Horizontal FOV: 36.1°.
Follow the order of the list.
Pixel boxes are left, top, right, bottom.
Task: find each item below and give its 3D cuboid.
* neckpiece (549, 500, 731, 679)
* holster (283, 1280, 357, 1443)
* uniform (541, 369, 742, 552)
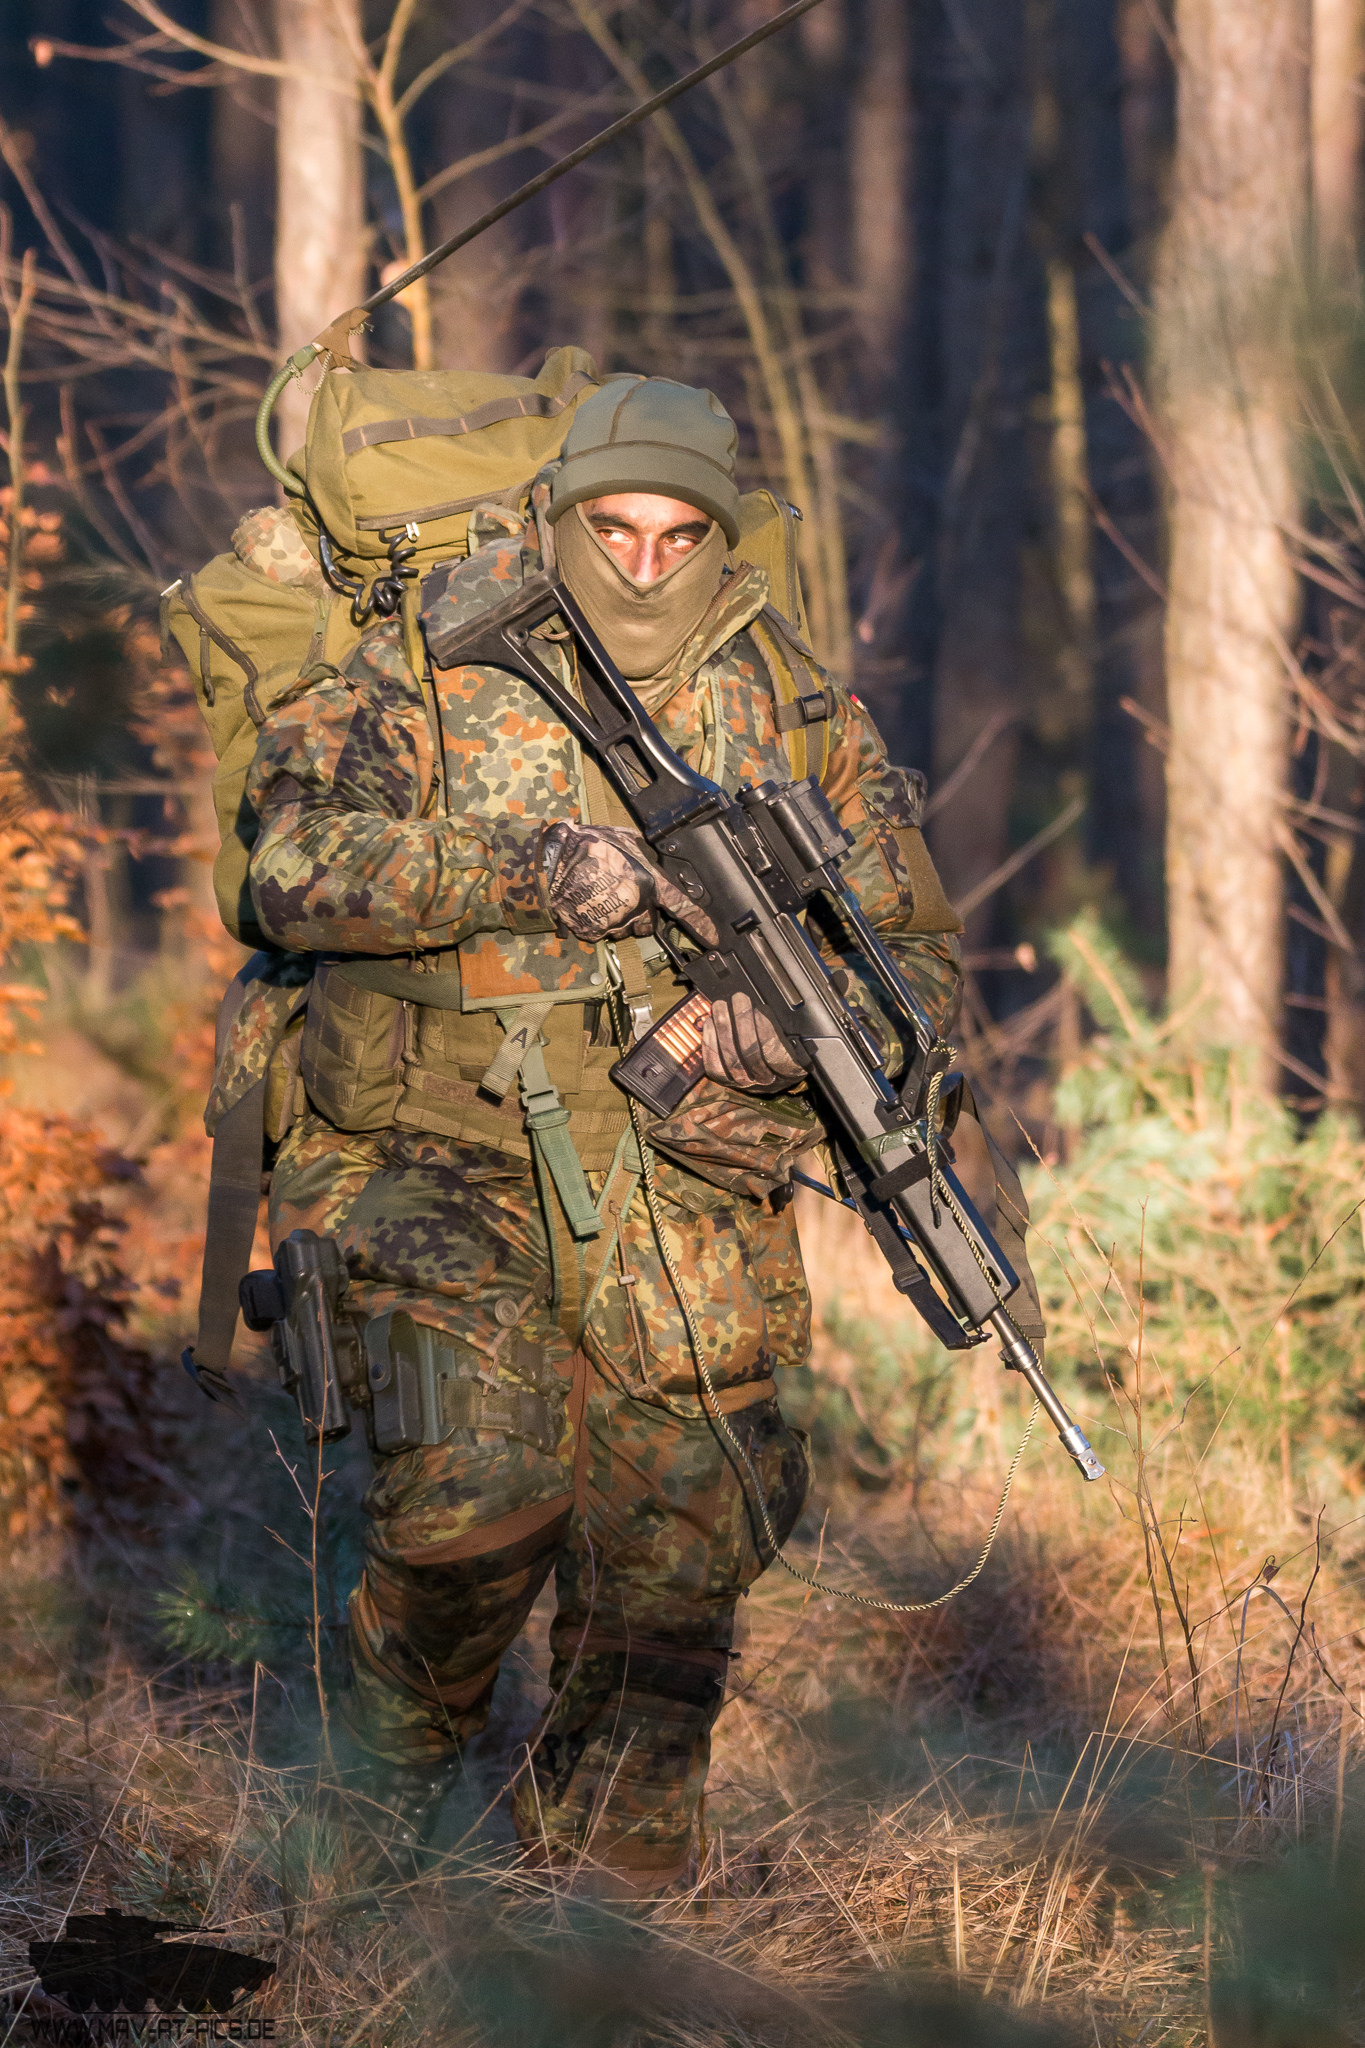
[{"bbox_3d":[-0.098,-0.771,4.113,0.294,0.255,0.348,2,-3,-13],"label":"neckpiece"},{"bbox_3d":[-0.661,0.585,3.730,0.104,0.302,0.116,-11,-9,-11],"label":"holster"},{"bbox_3d":[-0.086,-1.090,3.975,0.341,0.233,0.310,-2,3,-2],"label":"uniform"}]
